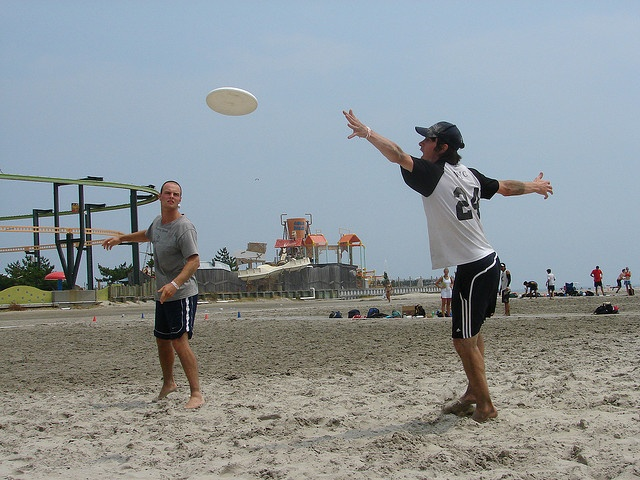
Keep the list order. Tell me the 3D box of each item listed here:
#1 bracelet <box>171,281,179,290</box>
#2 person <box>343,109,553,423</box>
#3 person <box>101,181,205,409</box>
[{"bbox_3d":[-1.686,0.542,8.259,0.037,0.095,0.091,-39,48,-20],"label":"bracelet"},{"bbox_3d":[1.506,0.322,7.866,1.041,3.270,1.539,0,0,30],"label":"person"},{"bbox_3d":[-1.770,0.624,8.597,0.636,2.693,1.439,0,0,-42],"label":"person"}]
